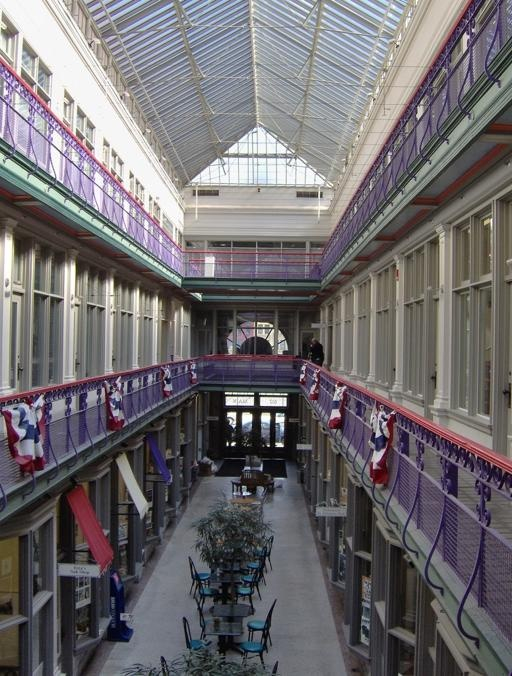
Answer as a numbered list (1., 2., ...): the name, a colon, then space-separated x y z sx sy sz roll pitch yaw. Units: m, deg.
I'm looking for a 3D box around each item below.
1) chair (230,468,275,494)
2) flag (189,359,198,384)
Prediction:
1. chair: -0.165 6.108 22.342 1.112 0.654 1.188 0 2 7
2. flag: -2.584 1.356 21.384 0.109 1.082 0.902 -4 5 10
